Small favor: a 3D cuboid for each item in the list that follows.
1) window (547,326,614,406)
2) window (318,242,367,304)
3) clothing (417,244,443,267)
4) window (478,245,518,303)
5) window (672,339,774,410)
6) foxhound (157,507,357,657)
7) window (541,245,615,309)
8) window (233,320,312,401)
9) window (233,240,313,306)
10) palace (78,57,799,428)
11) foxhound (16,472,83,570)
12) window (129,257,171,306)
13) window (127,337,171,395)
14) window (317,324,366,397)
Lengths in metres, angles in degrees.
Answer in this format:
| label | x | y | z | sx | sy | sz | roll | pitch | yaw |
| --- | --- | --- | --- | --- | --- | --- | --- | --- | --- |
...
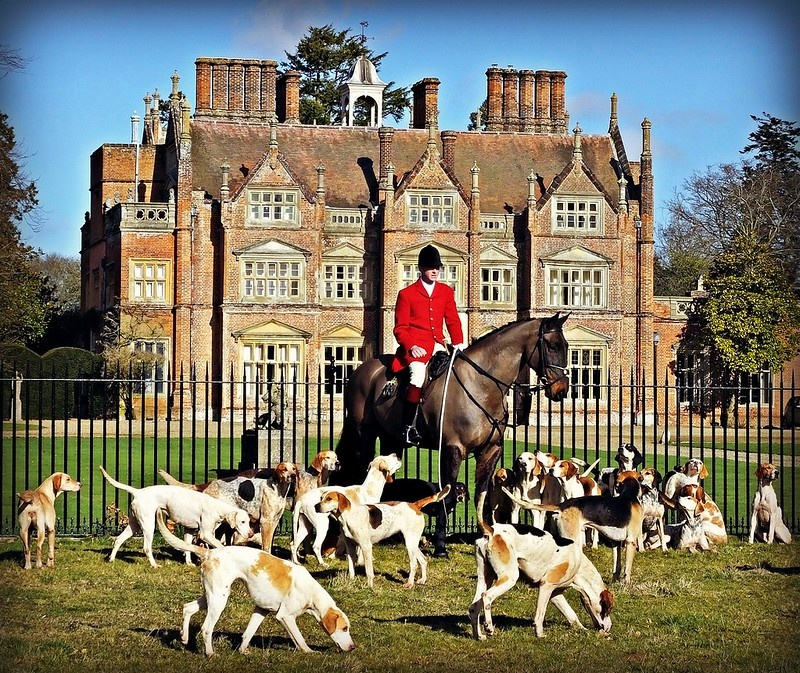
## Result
| label | x | y | z | sx | sy | sz | roll | pitch | yaw |
| --- | --- | --- | --- | --- | --- | --- | --- | --- | --- |
| window | 6.630 | 0.923 | 53.228 | 2.140 | 3.146 | 0.315 | 2 | 25 | 21 |
| window | -2.015 | -2.387 | 52.699 | 1.754 | 2.353 | 0.225 | 1 | 34 | -4 |
| clothing | 0.434 | -1.244 | 22.137 | 0.261 | 0.290 | 0.373 | 0 | 6 | -12 |
| window | 3.515 | -2.271 | 53.432 | 1.718 | 2.180 | 0.215 | 5 | -11 | -29 |
| window | 11.668 | 1.719 | 54.101 | 1.813 | 2.756 | 3.562 | 7 | 0 | -15 |
| foxhound | -1.665 | 3.294 | 18.202 | 2.218 | 1.350 | 1.019 | 1 | -3 | 6 |
| window | 6.439 | -2.184 | 53.401 | 1.977 | 1.999 | 0.219 | 0 | -3 | -12 |
| window | -4.533 | 0.902 | 50.741 | 2.684 | 3.177 | 0.321 | 1 | -30 | -7 |
| window | -4.672 | -2.250 | 51.350 | 1.943 | 1.887 | 0.185 | 0 | 7 | -11 |
| palace | -2.022 | -4.018 | 58.896 | 18.672 | 13.809 | 15.344 | 0 | -2 | -15 |
| foxhound | -5.150 | 2.619 | 20.953 | 0.883 | 1.352 | 0.816 | 3 | -4 | -27 |
| window | -8.916 | -1.914 | 51.029 | 1.406 | 1.864 | 0.148 | 1 | -6 | -17 |
| window | -8.697 | 1.029 | 50.045 | 1.465 | 2.443 | 0.095 | 3 | -29 | -18 |
| window | -2.019 | 0.889 | 51.892 | 1.724 | 2.741 | 0.222 | 1 | -22 | -2 |
